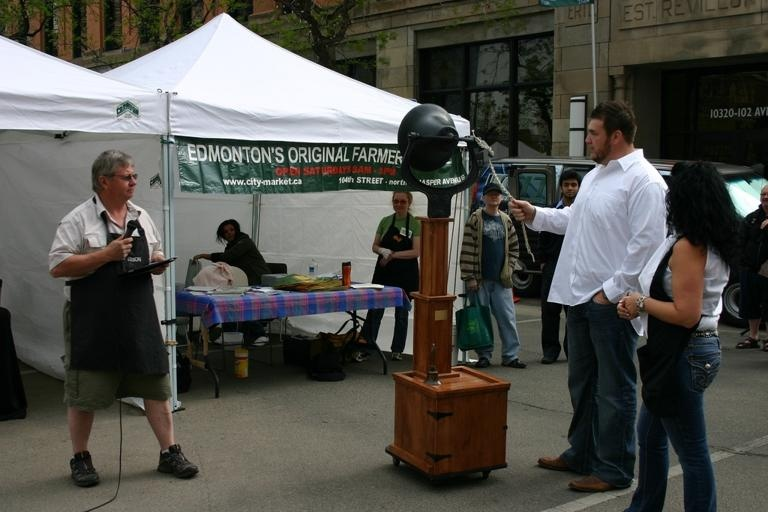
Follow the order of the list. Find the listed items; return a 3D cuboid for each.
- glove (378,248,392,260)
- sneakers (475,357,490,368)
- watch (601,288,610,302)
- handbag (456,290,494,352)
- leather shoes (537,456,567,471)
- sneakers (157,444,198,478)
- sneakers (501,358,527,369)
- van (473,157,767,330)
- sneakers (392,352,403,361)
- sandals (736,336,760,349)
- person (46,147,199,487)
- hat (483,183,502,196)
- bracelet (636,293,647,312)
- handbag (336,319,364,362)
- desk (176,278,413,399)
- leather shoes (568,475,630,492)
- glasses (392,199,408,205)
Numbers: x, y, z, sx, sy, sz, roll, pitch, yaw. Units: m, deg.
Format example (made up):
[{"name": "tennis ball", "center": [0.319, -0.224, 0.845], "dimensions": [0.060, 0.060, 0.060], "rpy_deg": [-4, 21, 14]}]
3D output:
[{"name": "glove", "center": [0.012, -0.031, 10.738], "dimensions": [0.124, 0.122, 0.183], "rpy_deg": [-5, 12, -23]}, {"name": "sneakers", "center": [1.225, 1.308, 10.442], "dimensions": [0.187, 0.131, 0.256], "rpy_deg": [1, 11, 7]}, {"name": "watch", "center": [1.799, 0.321, 6.784], "dimensions": [0.079, 0.088, 0.068], "rpy_deg": [-22, 29, 1]}, {"name": "handbag", "center": [1.087, 0.856, 10.209], "dimensions": [0.447, 0.500, 0.308], "rpy_deg": [-1, 11, -5]}, {"name": "leather shoes", "center": [1.490, 1.814, 7.434], "dimensions": [0.237, 0.094, 0.106], "rpy_deg": [7, 4, 18]}, {"name": "sneakers", "center": [-1.804, 1.789, 7.358], "dimensions": [0.456, 0.255, 0.181], "rpy_deg": [2, 0, 32]}, {"name": "sneakers", "center": [1.617, 1.338, 10.474], "dimensions": [0.296, 0.126, 0.110], "rpy_deg": [-3, -3, 30]}, {"name": "van", "center": [3.961, -0.270, 14.494], "dimensions": [4.650, 2.111, 2.947], "rpy_deg": [2, 4, 42]}, {"name": "sneakers", "center": [0.162, 1.313, 11.035], "dimensions": [0.134, 0.123, 0.085], "rpy_deg": [-2, 5, -9]}, {"name": "sandals", "center": [4.929, 1.174, 11.383], "dimensions": [0.359, 0.150, 0.144], "rpy_deg": [1, -2, -6]}, {"name": "person", "center": [-2.307, 0.531, 7.129], "dimensions": [0.937, 2.767, 0.675], "rpy_deg": [-4, 12, -20]}, {"name": "hat", "center": [1.317, -0.787, 10.146], "dimensions": [0.239, 0.168, 0.323], "rpy_deg": [0, -8, 0]}, {"name": "bracelet", "center": [1.886, 0.353, 6.172], "dimensions": [0.055, 0.082, 0.093], "rpy_deg": [3, 39, 11]}, {"name": "handbag", "center": [-0.502, 1.126, 10.930], "dimensions": [0.348, 0.541, 0.535], "rpy_deg": [0, 0, -23]}, {"name": "desk", "center": [-1.106, 0.637, 9.985], "dimensions": [2.477, 0.552, 0.740], "rpy_deg": [-5, 12, -22]}, {"name": "leather shoes", "center": [1.793, 1.909, 7.016], "dimensions": [0.489, 0.149, 0.181], "rpy_deg": [3, -5, -1]}, {"name": "glasses", "center": [0.199, -0.690, 10.740], "dimensions": [0.182, 0.077, 0.082], "rpy_deg": [2, 11, 9]}]
